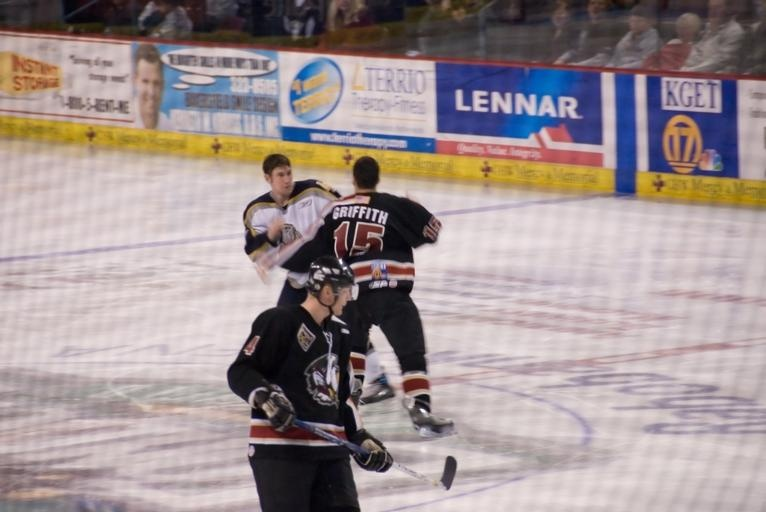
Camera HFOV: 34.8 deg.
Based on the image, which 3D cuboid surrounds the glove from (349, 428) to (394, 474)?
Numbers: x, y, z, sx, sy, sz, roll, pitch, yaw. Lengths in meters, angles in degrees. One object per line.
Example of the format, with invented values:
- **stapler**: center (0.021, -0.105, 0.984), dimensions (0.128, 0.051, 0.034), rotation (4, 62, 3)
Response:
- **glove**: center (-0.070, 1.265, 7.841), dimensions (0.344, 0.126, 0.222), rotation (26, 12, 21)
